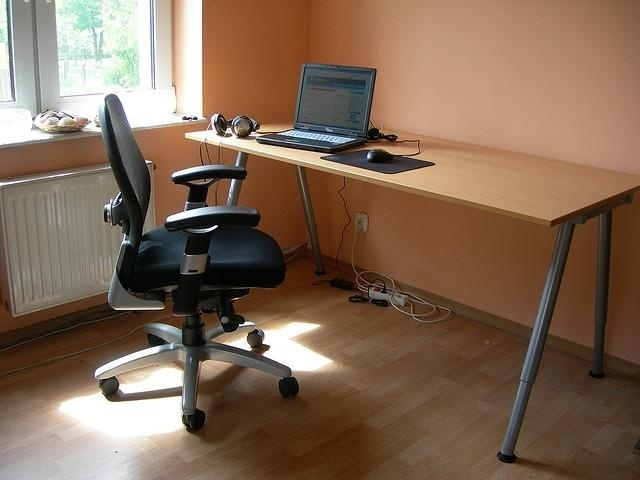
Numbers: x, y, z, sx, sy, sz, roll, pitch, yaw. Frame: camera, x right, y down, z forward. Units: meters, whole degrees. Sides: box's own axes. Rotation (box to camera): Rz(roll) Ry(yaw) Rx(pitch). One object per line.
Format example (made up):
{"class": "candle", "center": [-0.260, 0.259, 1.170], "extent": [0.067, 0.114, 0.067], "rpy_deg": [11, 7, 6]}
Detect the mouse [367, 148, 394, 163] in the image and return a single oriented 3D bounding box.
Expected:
{"class": "mouse", "center": [0.253, -0.369, 2.123], "extent": [0.090, 0.031, 0.057], "rpy_deg": [-16, 30, -33]}

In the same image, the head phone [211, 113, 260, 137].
{"class": "head phone", "center": [-0.418, -0.617, 2.533], "extent": [0.163, 0.070, 0.201], "rpy_deg": [10, 21, 28]}

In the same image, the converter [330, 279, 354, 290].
{"class": "converter", "center": [0.144, 0.267, 3.051], "extent": [0.119, 0.037, 0.066], "rpy_deg": [15, 21, 41]}

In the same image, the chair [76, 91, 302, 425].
{"class": "chair", "center": [-0.488, 0.040, 2.081], "extent": [0.857, 1.095, 0.830], "rpy_deg": [12, 16, 29]}

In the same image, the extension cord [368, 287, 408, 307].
{"class": "extension cord", "center": [0.390, 0.315, 2.899], "extent": [0.183, 0.063, 0.105], "rpy_deg": [17, 20, 24]}

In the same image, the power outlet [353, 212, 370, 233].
{"class": "power outlet", "center": [0.269, -0.118, 3.151], "extent": [0.109, 0.119, 0.013], "rpy_deg": [23, 33, 39]}

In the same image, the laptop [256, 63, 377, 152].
{"class": "laptop", "center": [-0.023, -0.645, 2.411], "extent": [0.475, 0.333, 0.415], "rpy_deg": [16, 30, 35]}
